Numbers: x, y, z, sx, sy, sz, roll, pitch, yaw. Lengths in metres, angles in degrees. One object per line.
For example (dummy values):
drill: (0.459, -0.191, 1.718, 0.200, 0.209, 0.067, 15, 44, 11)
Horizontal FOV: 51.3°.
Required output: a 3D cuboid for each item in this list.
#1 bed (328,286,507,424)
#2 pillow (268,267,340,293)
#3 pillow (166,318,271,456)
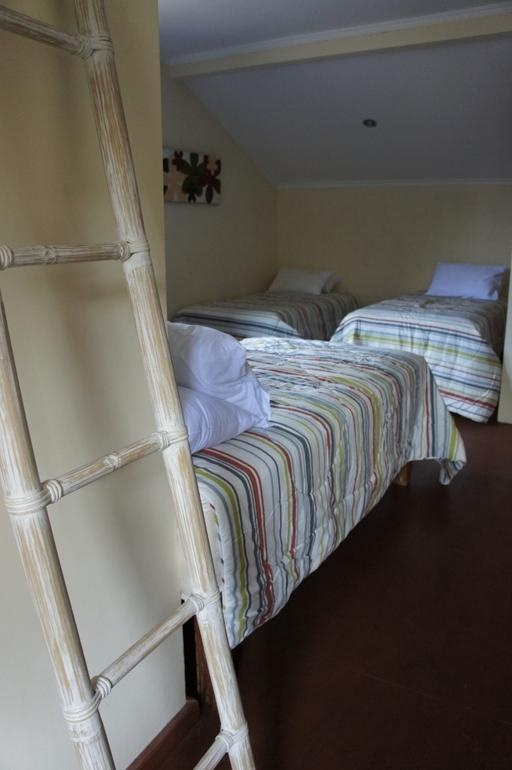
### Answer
bed: (1.432, -0.384, 3.960, 0.998, 0.523, 0.954, 6, 15, 30)
pillow: (0.466, -1.019, 5.209, 0.585, 0.281, 0.216, 8, 7, 15)
pillow: (-0.130, 0.013, 1.552, 0.103, 0.353, 0.299, -13, -6, 37)
